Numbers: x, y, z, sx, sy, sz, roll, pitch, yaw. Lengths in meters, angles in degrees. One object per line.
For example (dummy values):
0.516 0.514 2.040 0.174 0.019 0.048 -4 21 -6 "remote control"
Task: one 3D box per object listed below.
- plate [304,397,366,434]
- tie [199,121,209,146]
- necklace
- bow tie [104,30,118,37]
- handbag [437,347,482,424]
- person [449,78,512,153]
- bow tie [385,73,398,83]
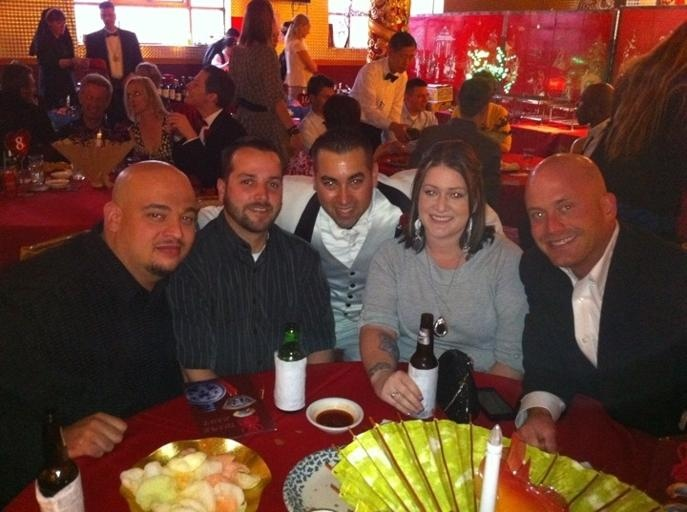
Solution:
-0.040 0.539 1.809 0.163 0.061 0.165 -4 1 -8 "plate"
-1.192 -1.008 4.469 0.062 0.246 0.182 5 5 -18 "tie"
0.459 0.215 2.448 0.048 0.355 0.127 -14 16 -38 "necklace"
-3.412 -3.162 7.694 0.097 0.065 0.094 -1 41 -11 "bow tie"
0.418 0.476 1.896 0.105 0.178 0.186 -3 20 -2 "handbag"
1.562 -1.538 6.128 0.769 1.074 0.619 4 23 9 "person"
0.575 -2.080 6.316 0.103 0.100 0.028 3 63 -6 "bow tie"
